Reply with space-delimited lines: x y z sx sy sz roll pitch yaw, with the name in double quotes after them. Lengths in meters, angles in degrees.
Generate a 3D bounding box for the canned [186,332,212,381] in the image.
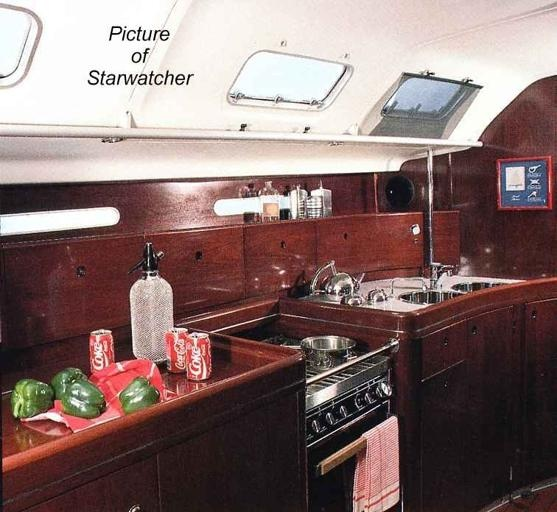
-0.270 0.329 1.490 0.087 0.152 0.089 13 14 41 "canned"

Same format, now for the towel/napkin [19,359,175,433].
-0.512 0.361 1.339 0.429 0.110 0.411 -4 14 -45 "towel/napkin"

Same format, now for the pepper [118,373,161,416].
-0.379 0.377 1.200 0.108 0.064 0.088 -6 4 -19 "pepper"

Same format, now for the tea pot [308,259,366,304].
0.354 0.174 2.788 0.288 0.267 0.273 9 10 -2 "tea pot"

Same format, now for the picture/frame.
2.010 -0.597 3.596 0.441 0.457 0.045 3 5 39 "picture/frame"

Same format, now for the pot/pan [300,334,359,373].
0.246 0.489 2.237 0.280 0.123 0.326 -8 -4 43 "pot/pan"

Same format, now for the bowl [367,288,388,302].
0.611 0.245 2.748 0.105 0.070 0.075 -7 10 -26 "bowl"
